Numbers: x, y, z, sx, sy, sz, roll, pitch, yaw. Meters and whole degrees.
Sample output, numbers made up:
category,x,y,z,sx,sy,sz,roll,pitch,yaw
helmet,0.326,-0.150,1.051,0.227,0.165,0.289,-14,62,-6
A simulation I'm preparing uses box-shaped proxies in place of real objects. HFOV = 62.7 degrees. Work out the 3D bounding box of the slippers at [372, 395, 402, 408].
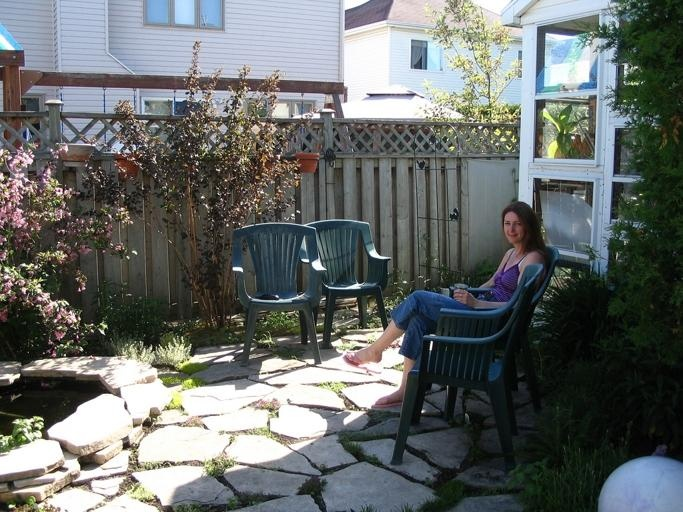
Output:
category,x,y,z,sx,sy,sz,roll,pitch,yaw
slippers,0.367,1.154,4.468,0.217,0.081,0.091,2,-3,-4

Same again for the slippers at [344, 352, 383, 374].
category,x,y,z,sx,sy,sz,roll,pitch,yaw
slippers,0.183,0.936,4.893,0.361,0.108,0.147,24,-5,-4

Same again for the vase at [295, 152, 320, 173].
category,x,y,z,sx,sy,sz,roll,pitch,yaw
vase,-0.424,-1.164,7.071,0.226,0.203,0.250,1,3,10

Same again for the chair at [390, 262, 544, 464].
category,x,y,z,sx,sy,sz,roll,pitch,yaw
chair,0.889,0.777,3.995,0.805,1.311,0.823,3,-3,17

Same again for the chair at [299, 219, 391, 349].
category,x,y,z,sx,sy,sz,roll,pitch,yaw
chair,0.061,0.254,6.200,0.855,1.345,0.927,-3,0,-33

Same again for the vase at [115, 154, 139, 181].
category,x,y,z,sx,sy,sz,roll,pitch,yaw
vase,-2.355,-0.973,6.192,0.214,0.323,0.243,2,2,-7

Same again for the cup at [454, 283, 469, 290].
category,x,y,z,sx,sy,sz,roll,pitch,yaw
cup,0.927,0.233,4.328,0.089,0.088,0.113,1,-1,3

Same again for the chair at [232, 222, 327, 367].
category,x,y,z,sx,sy,sz,roll,pitch,yaw
chair,-0.707,0.421,6.400,0.881,1.510,0.945,-1,-5,-3

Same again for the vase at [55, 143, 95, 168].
category,x,y,z,sx,sy,sz,roll,pitch,yaw
vase,-2.891,-1.103,6.121,0.348,0.261,0.258,-6,12,-30

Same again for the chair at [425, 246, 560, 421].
category,x,y,z,sx,sy,sz,roll,pitch,yaw
chair,1.175,0.550,4.866,1.023,1.678,1.120,-1,0,7
